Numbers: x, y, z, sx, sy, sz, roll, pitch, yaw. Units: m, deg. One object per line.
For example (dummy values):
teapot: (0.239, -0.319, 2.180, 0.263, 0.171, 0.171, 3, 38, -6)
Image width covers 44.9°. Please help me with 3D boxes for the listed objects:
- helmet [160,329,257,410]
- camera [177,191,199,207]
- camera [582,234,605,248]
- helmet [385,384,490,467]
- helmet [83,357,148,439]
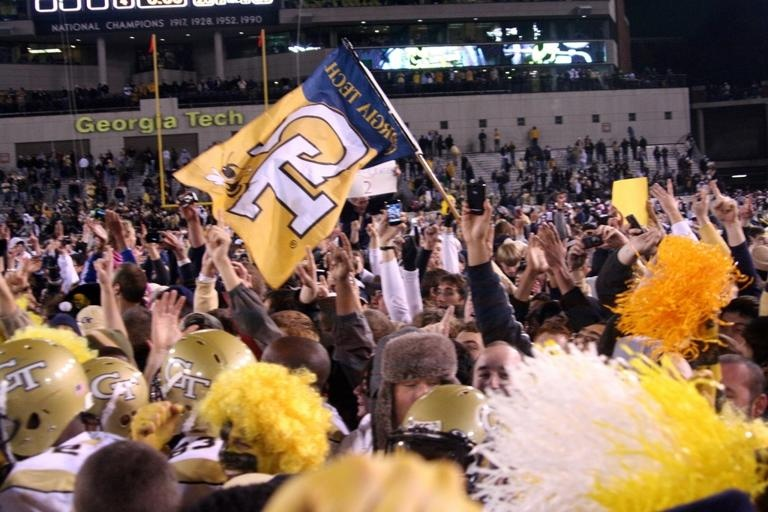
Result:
helmet: (-0.972, 0.667, 5.049, 0.407, 0.342, 0.456, -24, -15, -32)
camera: (-1.498, -0.434, 7.128, 0.149, 0.108, 0.049, -40, 1, -15)
camera: (1.545, -0.108, 6.857, 0.168, 0.107, 0.092, -7, 3, -8)
helmet: (0.298, 0.792, 4.453, 0.423, 0.346, 0.308, 24, -14, -38)
helmet: (-1.469, 0.754, 5.173, 0.429, 0.369, 0.328, 16, 19, -29)
